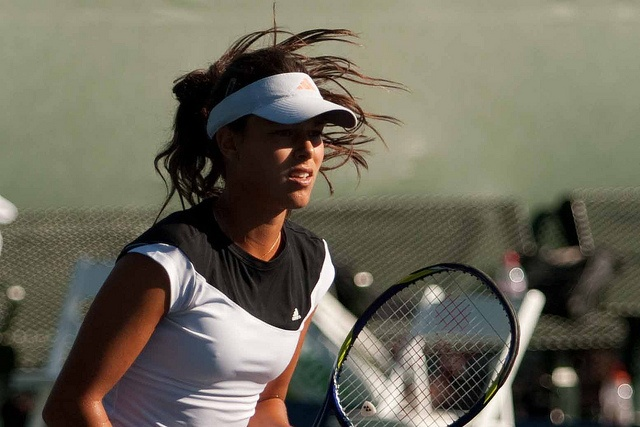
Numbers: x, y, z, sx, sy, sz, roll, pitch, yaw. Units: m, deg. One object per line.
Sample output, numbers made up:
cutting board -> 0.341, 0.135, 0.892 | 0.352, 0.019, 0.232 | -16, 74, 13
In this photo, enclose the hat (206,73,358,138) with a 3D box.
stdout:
hat -> -0.213, -0.557, 4.601 | 0.549, 0.216, 0.375 | -13, -10, 28
